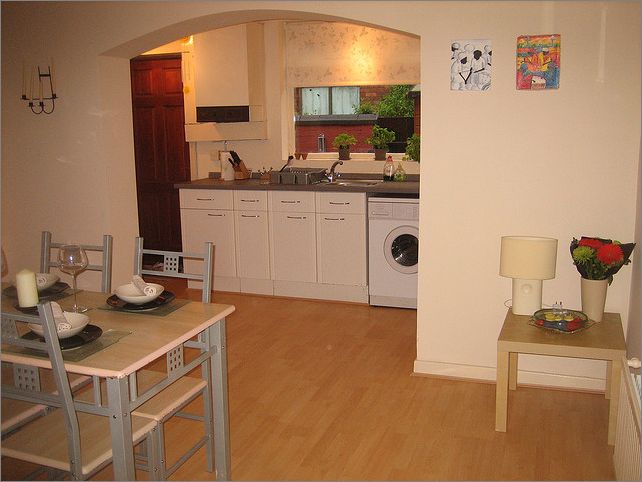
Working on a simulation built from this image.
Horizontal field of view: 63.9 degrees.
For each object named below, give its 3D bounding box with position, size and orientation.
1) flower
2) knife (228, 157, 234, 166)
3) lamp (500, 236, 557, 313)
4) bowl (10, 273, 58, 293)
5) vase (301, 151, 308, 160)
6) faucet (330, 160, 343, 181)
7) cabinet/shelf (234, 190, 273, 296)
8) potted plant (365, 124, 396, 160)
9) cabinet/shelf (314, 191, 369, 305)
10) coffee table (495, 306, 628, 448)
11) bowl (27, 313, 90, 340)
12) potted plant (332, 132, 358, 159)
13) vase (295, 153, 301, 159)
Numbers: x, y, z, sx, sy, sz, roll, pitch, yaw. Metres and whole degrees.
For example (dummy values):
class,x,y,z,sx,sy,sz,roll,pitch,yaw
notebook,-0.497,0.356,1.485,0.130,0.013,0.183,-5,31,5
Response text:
class,x,y,z,sx,sy,sz,roll,pitch,yaw
flower,1.737,0.087,3.164,0.301,0.230,0.318,-5,7,-7
knife,-1.038,-0.910,5.912,0.015,0.109,0.029,17,58,47
lamp,1.306,0.216,3.270,0.315,0.513,0.308,4,15,18
bowl,-1.535,0.218,2.813,0.159,0.057,0.158,2,8,0
vase,-0.192,-0.957,5.833,0.063,0.074,0.085,1,15,6
faucet,0.162,-0.770,5.618,0.158,0.226,0.329,0,14,2
cabinet/shelf,-0.709,-0.034,5.514,0.431,1.123,0.397,0,19,-8
potted plant,0.644,-1.129,5.831,0.353,0.477,0.373,-1,13,1
cabinet/shelf,0.203,0.067,5.085,0.512,1.077,0.183,1,15,6
coffee table,1.461,0.715,3.260,0.718,0.645,0.752,3,11,16
bowl,-1.135,0.374,2.257,0.138,0.042,0.138,4,15,-1
potted plant,0.266,-1.053,5.770,0.246,0.278,0.155,-1,15,-1
vase,-0.262,-0.954,5.815,0.057,0.074,0.061,-2,15,-4
